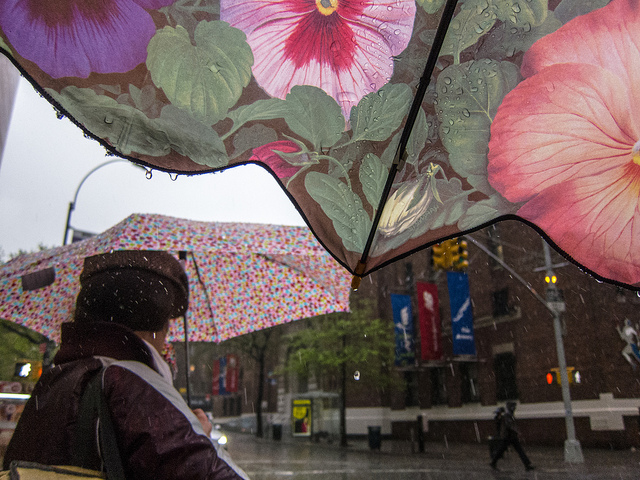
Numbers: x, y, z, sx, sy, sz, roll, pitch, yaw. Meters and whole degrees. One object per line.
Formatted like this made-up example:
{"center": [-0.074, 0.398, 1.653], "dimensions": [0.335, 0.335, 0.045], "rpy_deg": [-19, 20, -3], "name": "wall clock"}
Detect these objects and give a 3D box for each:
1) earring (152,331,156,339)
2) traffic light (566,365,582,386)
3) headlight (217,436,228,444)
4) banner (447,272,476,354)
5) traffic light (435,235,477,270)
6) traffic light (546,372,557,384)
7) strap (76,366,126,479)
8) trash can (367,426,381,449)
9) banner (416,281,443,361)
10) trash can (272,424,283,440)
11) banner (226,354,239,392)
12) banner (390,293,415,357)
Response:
{"center": [-0.913, 0.529, 2.977], "dimensions": [0.016, 0.030, 0.027], "rpy_deg": [1, -20, -11], "name": "earring"}
{"center": [8.518, 4.545, 18.227], "dimensions": [0.259, 0.503, 0.802], "rpy_deg": [-14, -23, 32], "name": "traffic light"}
{"center": [-0.970, 1.993, 5.394], "dimensions": [0.068, 0.090, 0.788], "rpy_deg": [1, -22, -11], "name": "headlight"}
{"center": [6.775, 3.525, 25.997], "dimensions": [1.049, 4.185, 0.064], "rpy_deg": [0, -28, 3], "name": "banner"}
{"center": [4.268, 0.471, 16.857], "dimensions": [1.430, 0.662, 0.657], "rpy_deg": [-21, -69, 33], "name": "traffic light"}
{"center": [8.106, 4.814, 18.915], "dimensions": [0.338, 0.479, 1.993], "rpy_deg": [-10, -22, 21], "name": "traffic light"}
{"center": [-1.020, 0.862, 2.550], "dimensions": [0.276, 0.501, 0.113], "rpy_deg": [-10, -19, 22], "name": "strap"}
{"center": [2.415, 8.914, 24.414], "dimensions": [0.732, 1.006, 0.792], "rpy_deg": [4, -24, -5], "name": "trash can"}
{"center": [5.475, 4.043, 27.229], "dimensions": [1.355, 3.930, 0.510], "rpy_deg": [8, -20, -28], "name": "banner"}
{"center": [-2.760, 12.296, 34.593], "dimensions": [0.674, 1.578, 0.763], "rpy_deg": [0, -7, -1], "name": "trash can"}
{"center": [-8.078, 12.433, 50.009], "dimensions": [1.280, 3.981, 0.350], "rpy_deg": [3, 20, -5], "name": "banner"}
{"center": [4.291, 4.403, 28.045], "dimensions": [1.105, 3.357, 1.287], "rpy_deg": [-2, -18, -2], "name": "banner"}
